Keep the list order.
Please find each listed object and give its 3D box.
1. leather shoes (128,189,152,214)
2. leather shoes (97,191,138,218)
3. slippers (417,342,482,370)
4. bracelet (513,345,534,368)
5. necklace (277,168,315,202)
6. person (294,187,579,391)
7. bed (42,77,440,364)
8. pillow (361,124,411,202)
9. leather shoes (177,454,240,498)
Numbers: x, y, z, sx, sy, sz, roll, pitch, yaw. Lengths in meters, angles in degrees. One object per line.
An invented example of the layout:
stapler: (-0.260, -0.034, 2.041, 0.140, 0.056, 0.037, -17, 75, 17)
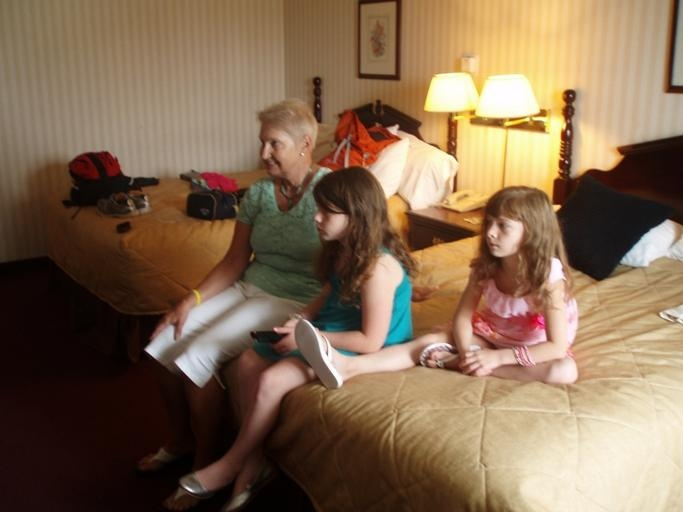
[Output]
leather shoes: (-1.515, -0.399, 3.686, 0.143, 0.185, 0.389, -8, 9, -29)
leather shoes: (-1.540, -0.376, 3.496, 0.299, 0.147, 0.139, 10, 20, 24)
slippers: (0.357, 0.334, 1.745, 0.163, 0.099, 0.068, -22, 15, 22)
bracelet: (0.597, 0.331, 1.640, 0.059, 0.026, 0.063, -14, 20, -17)
necklace: (-0.211, -0.287, 2.143, 0.121, 0.176, 0.061, -12, -19, 17)
person: (0.359, 0.050, 1.736, 0.888, 0.646, 0.610, -3, 10, -30)
bed: (-1.066, -0.242, 3.781, 1.898, 1.328, 1.959, -11, 21, -34)
pillow: (0.397, -0.712, 3.935, 0.159, 0.568, 0.483, 26, -13, -30)
leather shoes: (-0.481, 0.811, 1.811, 0.204, 0.057, 0.104, -21, 33, -38)
